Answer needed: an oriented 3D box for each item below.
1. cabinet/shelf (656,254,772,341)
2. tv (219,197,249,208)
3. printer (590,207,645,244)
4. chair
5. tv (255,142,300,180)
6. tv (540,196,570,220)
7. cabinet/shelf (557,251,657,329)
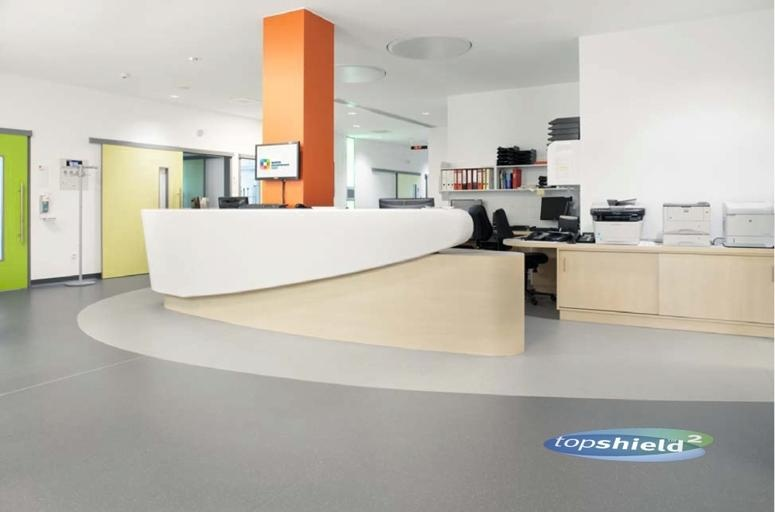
[{"bbox_3d":[3.864,0.486,5.978,0.928,0.793,0.335,1,0,20],"label":"cabinet/shelf"},{"bbox_3d":[-2.652,-0.927,8.814,0.418,0.146,1.034,-3,8,-20],"label":"tv"},{"bbox_3d":[2.911,-0.365,6.702,0.682,0.475,0.564,1,-1,8],"label":"printer"},{"bbox_3d":[2.076,-0.050,8.600,1.400,2.197,1.572,-3,-2,31],"label":"chair"},{"bbox_3d":[-1.495,-1.277,6.921,0.700,0.484,0.096,3,7,24],"label":"tv"},{"bbox_3d":[3.031,-0.857,9.238,0.510,0.388,0.071,4,1,45],"label":"tv"},{"bbox_3d":[2.827,0.350,6.669,1.392,1.069,0.774,-1,-3,19],"label":"cabinet/shelf"}]
